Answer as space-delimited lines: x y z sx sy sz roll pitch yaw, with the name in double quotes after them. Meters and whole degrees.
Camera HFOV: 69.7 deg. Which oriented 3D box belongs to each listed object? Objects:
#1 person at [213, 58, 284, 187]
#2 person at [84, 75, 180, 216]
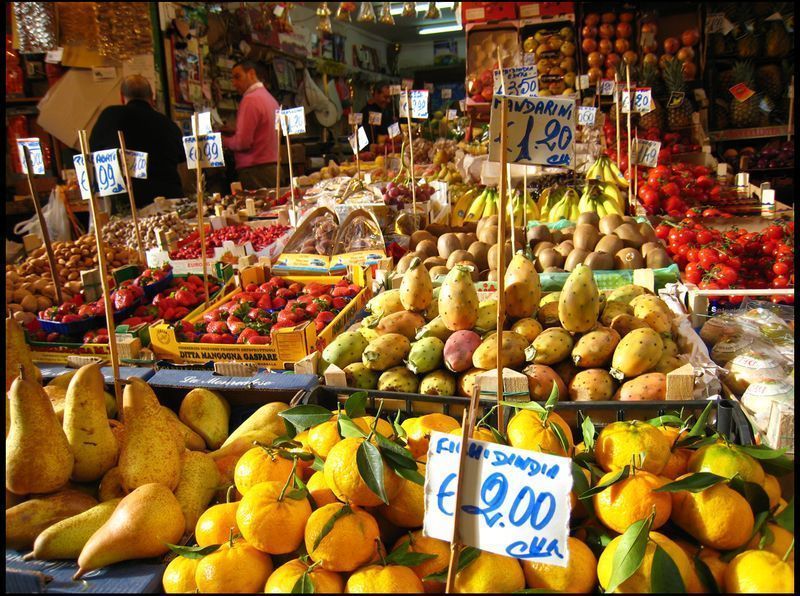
-2.144 -2.424 8.165 0.752 1.693 0.688 -6 14 -16 "person"
-3.198 -1.893 6.959 1.106 1.562 0.569 -11 17 -35 "person"
